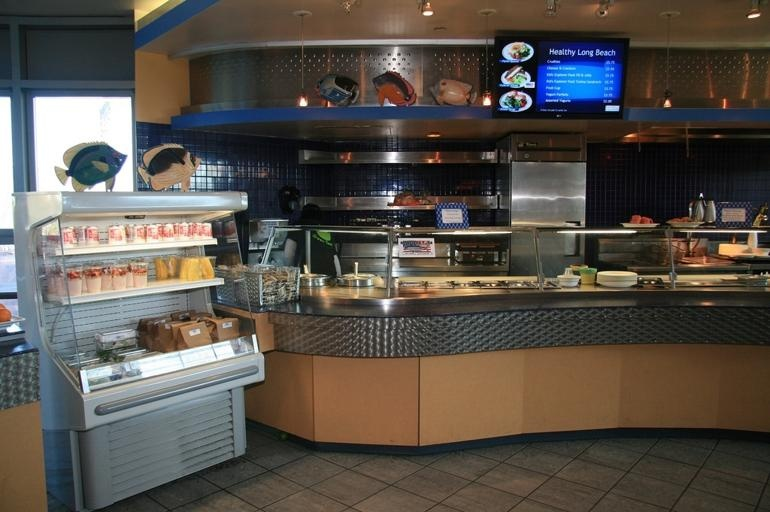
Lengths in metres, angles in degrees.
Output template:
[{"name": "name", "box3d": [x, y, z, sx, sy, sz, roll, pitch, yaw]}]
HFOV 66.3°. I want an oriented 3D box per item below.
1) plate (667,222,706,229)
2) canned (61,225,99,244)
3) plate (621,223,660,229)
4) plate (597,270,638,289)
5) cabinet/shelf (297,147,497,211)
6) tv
[{"name": "plate", "box3d": [2.904, -0.305, 5.717, 0.298, 0.052, 0.394, 2, 7, 22]}, {"name": "canned", "box3d": [-2.401, -0.162, 4.661, 0.248, 0.148, 0.093, -5, 9, -22]}, {"name": "plate", "box3d": [2.492, -0.296, 5.725, 0.347, 0.041, 0.331, 0, 7, 12]}, {"name": "plate", "box3d": [2.168, 0.218, 5.525, 0.268, 0.067, 0.211, -2, 7, -1]}, {"name": "cabinet/shelf", "box3d": [0.244, -1.008, 7.775, 2.460, 0.797, 0.637, -1, 9, 5]}, {"name": "tv", "box3d": [1.912, -1.961, 6.435, 1.659, 0.627, 0.135, 0, 6, -2]}]
